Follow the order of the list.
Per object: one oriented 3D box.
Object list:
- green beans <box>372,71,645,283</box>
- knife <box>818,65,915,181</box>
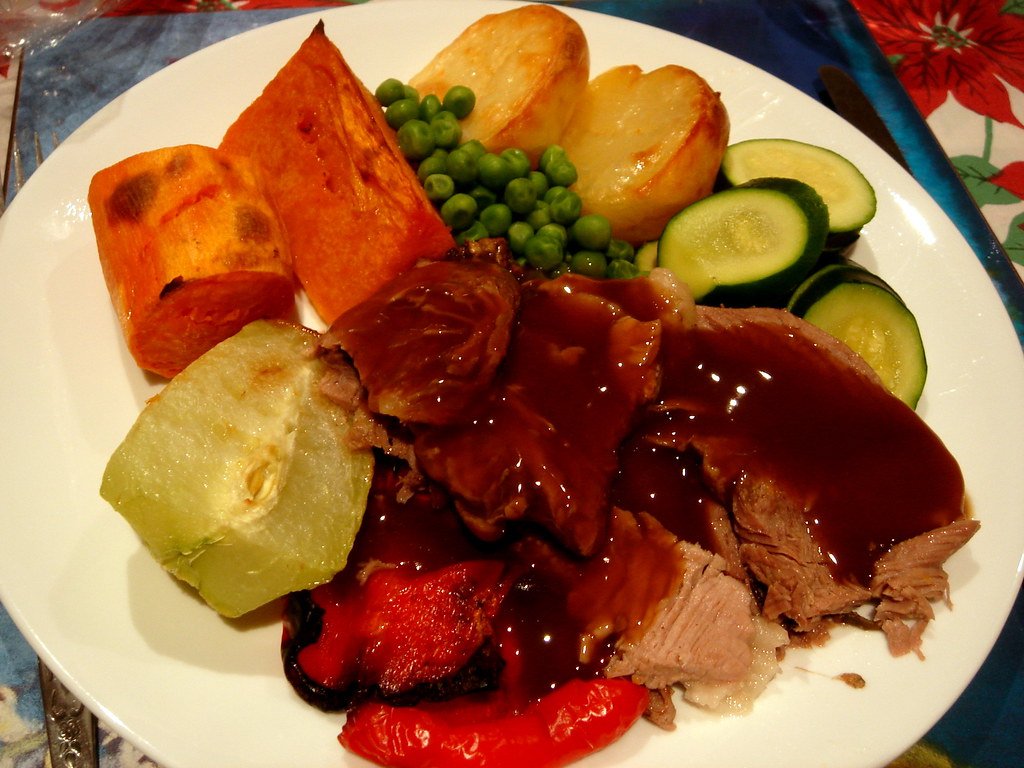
[{"bbox_3d":[-0.044,-0.755,3.990,1.258,0.291,0.566,26,76,6],"label":"green beans"},{"bbox_3d":[1.578,-1.234,4.475,0.160,0.012,0.848,-20,52,2],"label":"knife"}]
